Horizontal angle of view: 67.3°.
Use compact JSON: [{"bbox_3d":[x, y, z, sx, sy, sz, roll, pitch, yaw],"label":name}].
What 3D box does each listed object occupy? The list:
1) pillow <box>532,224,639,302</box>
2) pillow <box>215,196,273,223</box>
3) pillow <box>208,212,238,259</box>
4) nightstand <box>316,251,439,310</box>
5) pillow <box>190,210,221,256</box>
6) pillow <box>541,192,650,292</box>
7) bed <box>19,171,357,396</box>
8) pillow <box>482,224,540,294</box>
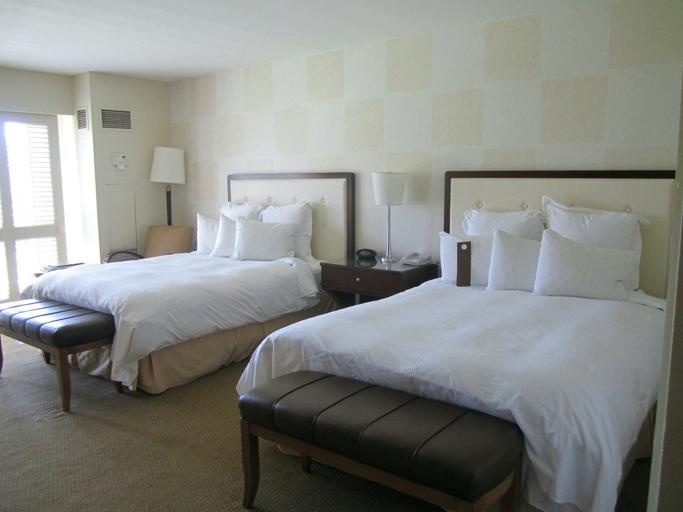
[{"bbox_3d":[1.570,0.100,3.317,0.457,0.484,0.191,2,-11,22],"label":"pillow"},{"bbox_3d":[-1.027,-0.480,5.379,0.352,0.118,0.348,1,19,16],"label":"pillow"},{"bbox_3d":[-1.144,-0.186,5.068,0.111,0.372,0.371,7,25,-12],"label":"pillow"},{"bbox_3d":[0.360,0.137,4.496,0.612,0.638,0.472,6,14,33],"label":"nightstand"},{"bbox_3d":[-1.424,-0.225,5.420,0.392,0.405,0.127,9,1,39],"label":"pillow"},{"bbox_3d":[1.744,-0.067,3.459,0.576,0.503,0.198,13,3,42],"label":"pillow"},{"bbox_3d":[-1.070,0.207,4.609,1.772,1.532,2.170,8,13,37],"label":"bed"},{"bbox_3d":[1.206,0.049,3.613,0.384,0.426,0.145,10,-4,39],"label":"pillow"}]
